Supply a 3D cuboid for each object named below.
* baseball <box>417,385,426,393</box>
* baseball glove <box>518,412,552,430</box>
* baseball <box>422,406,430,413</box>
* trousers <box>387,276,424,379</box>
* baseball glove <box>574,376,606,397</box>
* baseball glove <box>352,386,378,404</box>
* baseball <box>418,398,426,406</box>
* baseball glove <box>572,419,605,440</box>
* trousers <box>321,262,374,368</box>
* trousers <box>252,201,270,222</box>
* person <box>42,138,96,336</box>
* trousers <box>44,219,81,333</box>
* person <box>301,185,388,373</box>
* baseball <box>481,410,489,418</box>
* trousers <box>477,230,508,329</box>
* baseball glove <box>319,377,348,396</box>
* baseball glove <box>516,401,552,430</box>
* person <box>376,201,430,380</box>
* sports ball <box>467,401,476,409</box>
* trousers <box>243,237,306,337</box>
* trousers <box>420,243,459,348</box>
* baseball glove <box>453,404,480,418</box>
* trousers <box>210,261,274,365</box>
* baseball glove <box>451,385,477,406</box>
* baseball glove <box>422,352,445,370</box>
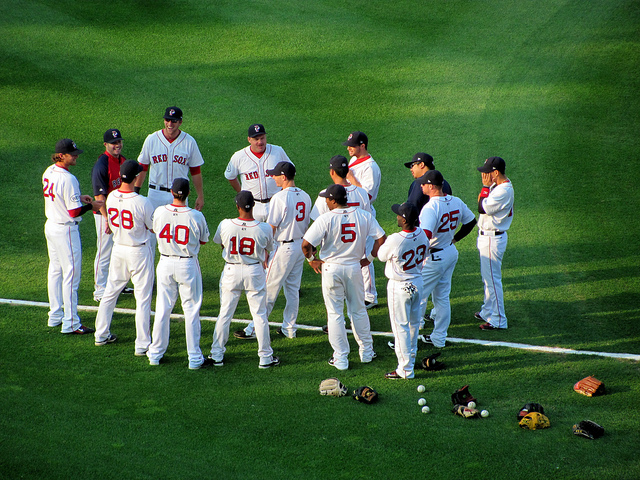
[{"bbox_3d":[1.764,2.607,20.246,0.114,0.112,0.068,-46,25,-8],"label":"baseball"},{"bbox_3d":[3.628,3.043,19.450,0.541,0.282,0.136,-3,-6,7],"label":"baseball glove"},{"bbox_3d":[1.803,2.902,19.766,0.092,0.093,0.093,-42,-29,12],"label":"baseball"},{"bbox_3d":[1.480,1.542,20.714,0.642,1.835,0.763,7,12,25],"label":"trousers"},{"bbox_3d":[4.655,2.536,20.024,0.411,0.311,0.141,28,-26,26],"label":"baseball glove"},{"bbox_3d":[0.783,2.691,19.979,0.268,0.144,0.346,4,-5,-29],"label":"baseball glove"},{"bbox_3d":[1.756,2.791,19.908,0.110,0.102,0.059,-29,26,-30],"label":"baseball"},{"bbox_3d":[4.467,3.154,19.258,0.395,0.107,0.296,6,12,28],"label":"baseball glove"},{"bbox_3d":[0.481,1.204,20.931,0.817,2.139,0.624,-11,17,-13],"label":"trousers"},{"bbox_3d":[-1.134,-0.553,22.035,0.352,0.436,0.264,13,7,-6],"label":"trousers"},{"bbox_3d":[-4.818,-0.027,21.681,0.791,3.661,1.030,0,-7,-25],"label":"person"},{"bbox_3d":[-4.838,0.676,21.653,0.675,2.122,0.506,-3,-6,9],"label":"trousers"},{"bbox_3d":[0.421,0.719,20.745,1.405,3.311,0.798,-2,-6,-3],"label":"person"},{"bbox_3d":[2.806,2.957,19.674,0.096,0.097,0.097,-36,20,14],"label":"baseball"},{"bbox_3d":[3.278,0.742,21.802,0.545,1.883,0.347,-3,-6,6],"label":"trousers"},{"bbox_3d":[0.215,2.566,20.128,0.401,0.207,0.276,-3,3,3],"label":"baseball glove"},{"bbox_3d":[3.596,2.969,19.482,0.398,0.184,0.503,0,29,3],"label":"baseball glove"},{"bbox_3d":[1.507,0.938,20.406,0.848,3.051,0.716,-4,-6,10],"label":"person"},{"bbox_3d":[2.599,2.824,19.805,0.115,0.130,0.113,-33,-8,-5],"label":"sports ball"},{"bbox_3d":[-0.701,0.695,21.799,1.129,2.629,0.670,-12,34,-27],"label":"trousers"},{"bbox_3d":[2.212,1.028,21.183,0.652,1.884,0.497,-3,-6,5],"label":"trousers"},{"bbox_3d":[2.488,2.921,19.705,0.215,0.095,0.311,-7,13,-42],"label":"baseball glove"},{"bbox_3d":[-1.414,1.318,20.762,1.076,1.857,0.558,-2,-6,-3],"label":"trousers"},{"bbox_3d":[2.451,2.679,19.894,0.423,0.254,0.271,9,-16,-22],"label":"baseball glove"},{"bbox_3d":[2.043,2.165,20.737,0.375,0.263,0.139,-12,33,-1],"label":"baseball glove"}]
